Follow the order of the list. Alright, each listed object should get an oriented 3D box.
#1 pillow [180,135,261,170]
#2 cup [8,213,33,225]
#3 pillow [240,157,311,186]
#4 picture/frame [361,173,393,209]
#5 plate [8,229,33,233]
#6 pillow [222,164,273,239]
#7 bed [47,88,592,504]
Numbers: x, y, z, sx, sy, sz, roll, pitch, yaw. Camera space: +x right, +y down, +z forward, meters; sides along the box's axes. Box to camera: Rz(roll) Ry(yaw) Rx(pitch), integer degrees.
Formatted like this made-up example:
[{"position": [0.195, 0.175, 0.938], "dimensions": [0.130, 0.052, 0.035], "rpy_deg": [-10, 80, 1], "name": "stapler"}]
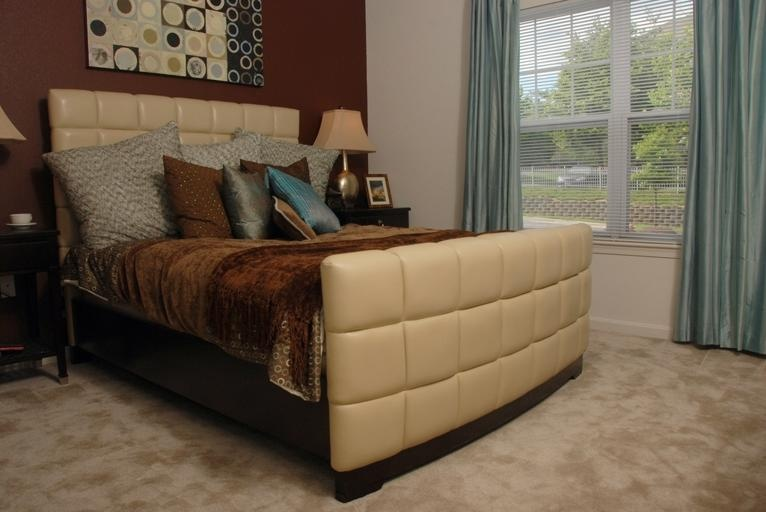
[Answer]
[{"position": [-1.209, -0.796, 3.994], "dimensions": [0.361, 0.141, 0.409], "rpy_deg": [7, 12, 39], "name": "pillow"}, {"position": [-2.428, -0.239, 3.507], "dimensions": [0.143, 0.068, 0.118], "rpy_deg": [-4, -2, 36], "name": "cup"}, {"position": [-0.816, -0.630, 3.886], "dimensions": [0.089, 0.198, 0.312], "rpy_deg": [-23, -13, 36], "name": "pillow"}, {"position": [-0.062, -0.633, 5.095], "dimensions": [0.027, 0.391, 0.376], "rpy_deg": [-12, -2, 38], "name": "picture/frame"}, {"position": [-2.355, -0.167, 3.399], "dimensions": [0.091, 0.019, 0.093], "rpy_deg": [-1, -1, -13], "name": "plate"}, {"position": [-0.923, -0.349, 3.547], "dimensions": [0.200, 0.407, 0.455], "rpy_deg": [2, 12, 18], "name": "pillow"}, {"position": [-0.573, 0.101, 3.590], "dimensions": [3.107, 2.062, 2.365], "rpy_deg": [5, 11, 43], "name": "bed"}]
